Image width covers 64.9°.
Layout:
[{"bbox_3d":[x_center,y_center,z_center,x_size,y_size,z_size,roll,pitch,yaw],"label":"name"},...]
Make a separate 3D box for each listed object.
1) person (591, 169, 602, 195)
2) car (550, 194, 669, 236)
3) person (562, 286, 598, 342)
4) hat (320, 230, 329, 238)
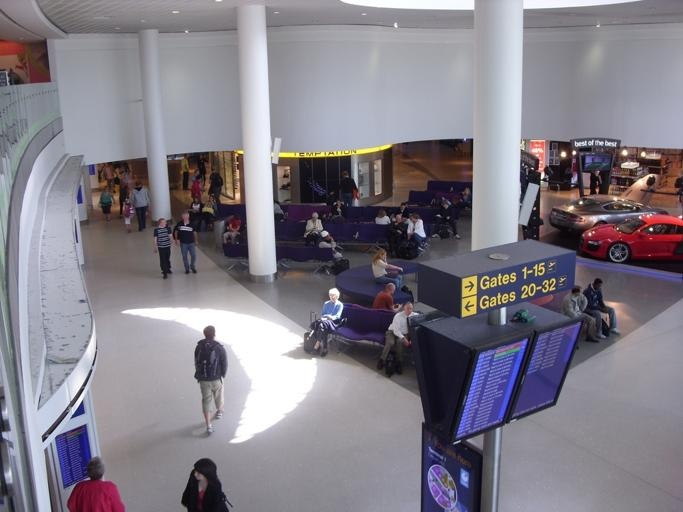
[{"bbox_3d":[10.815,-3.151,22.950,0.376,0.978,0.964,0,12,11],"label":"person"},{"bbox_3d":[8.919,-1.009,18.212,3.225,0.994,1.646,-15,25,-12],"label":"car"},{"bbox_3d":[4.623,1.141,10.478,0.848,1.097,0.480,-11,14,-36],"label":"person"},{"bbox_3d":[-0.486,-0.637,15.407,0.214,0.188,0.193,17,-4,34],"label":"hat"}]
